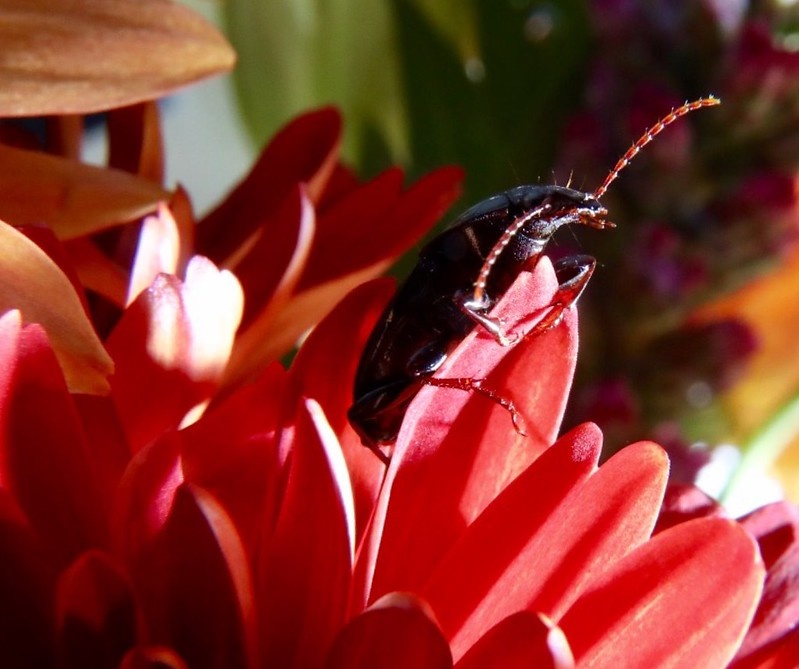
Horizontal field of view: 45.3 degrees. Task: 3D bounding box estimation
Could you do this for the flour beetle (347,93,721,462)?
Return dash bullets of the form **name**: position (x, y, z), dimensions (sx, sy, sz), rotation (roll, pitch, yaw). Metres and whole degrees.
- **flour beetle**: position (0.033, -0.006, 0.324), dimensions (0.040, 0.121, 0.098), rotation (53, 13, 0)
